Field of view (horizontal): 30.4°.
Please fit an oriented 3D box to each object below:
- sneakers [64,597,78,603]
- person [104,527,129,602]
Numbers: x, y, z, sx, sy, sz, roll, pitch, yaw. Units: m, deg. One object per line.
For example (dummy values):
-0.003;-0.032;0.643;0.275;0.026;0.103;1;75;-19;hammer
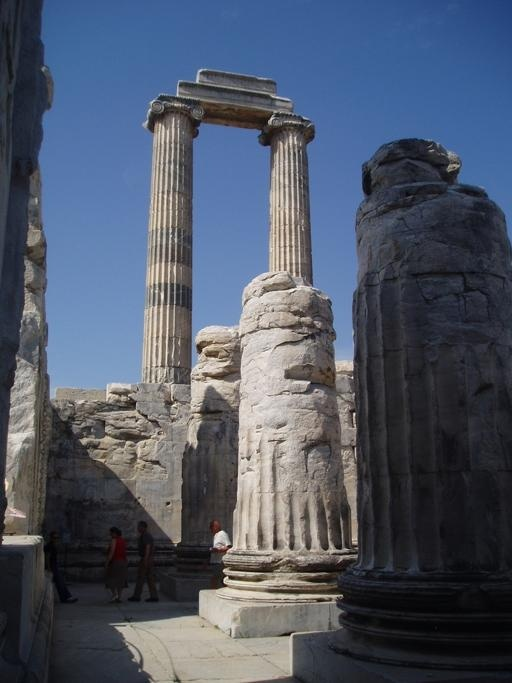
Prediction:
-2.118;2.970;10.763;0.160;0.105;0.051;1;-1;-11;sneakers
-1.652;2.651;11.104;0.236;0.874;0.780;2;-19;-8;person
